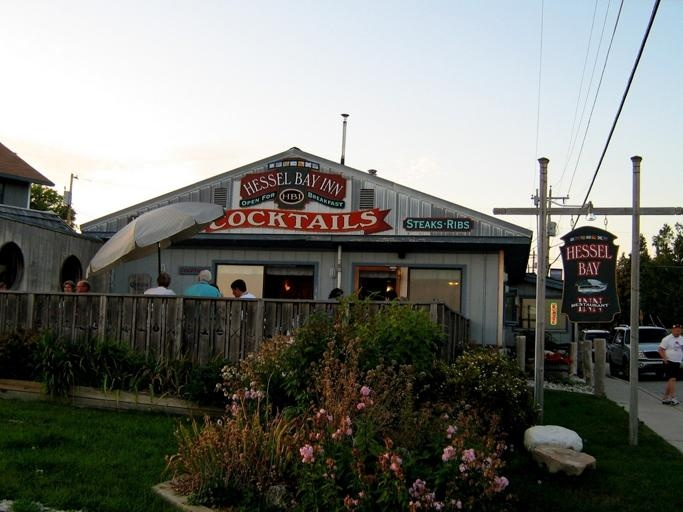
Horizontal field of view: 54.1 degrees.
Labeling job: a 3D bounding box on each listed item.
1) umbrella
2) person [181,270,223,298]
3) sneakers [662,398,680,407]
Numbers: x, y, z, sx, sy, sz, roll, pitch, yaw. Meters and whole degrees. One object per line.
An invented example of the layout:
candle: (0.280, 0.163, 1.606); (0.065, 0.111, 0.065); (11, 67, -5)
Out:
umbrella: (-3.617, -0.346, 12.925); (2.317, 1.516, 1.743); (3, 4, -23)
person: (-2.529, 0.559, 12.349); (0.524, 0.525, 0.882); (2, 6, -5)
sneakers: (7.642, 3.344, 15.413); (0.454, 0.204, 0.174); (0, -3, 2)
